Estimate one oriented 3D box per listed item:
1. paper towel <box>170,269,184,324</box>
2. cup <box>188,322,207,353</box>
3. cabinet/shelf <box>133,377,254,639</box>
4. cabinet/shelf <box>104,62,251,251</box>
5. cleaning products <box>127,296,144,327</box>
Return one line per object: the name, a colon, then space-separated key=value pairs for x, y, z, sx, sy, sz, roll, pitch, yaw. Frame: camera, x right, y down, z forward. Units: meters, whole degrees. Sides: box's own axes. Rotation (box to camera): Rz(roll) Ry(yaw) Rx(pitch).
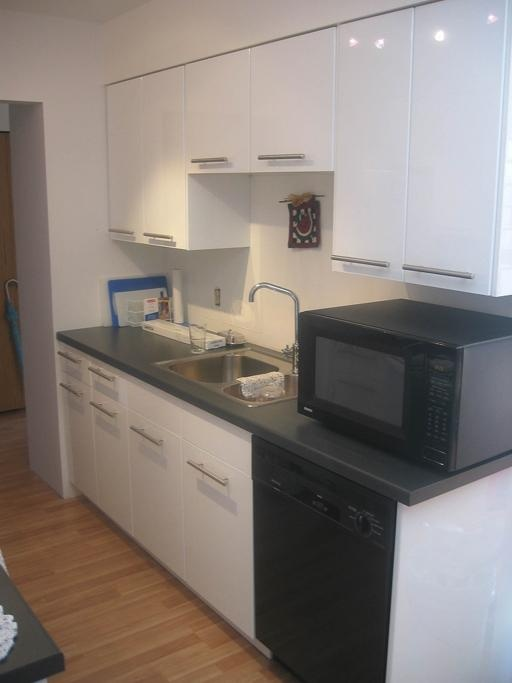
paper towel: x=-0.452 y=-0.260 z=3.139 sx=0.076 sy=0.301 sz=0.178 roll=-2 pitch=8 yaw=-9
cup: x=-0.282 y=-0.002 z=2.606 sx=0.073 sy=0.154 sz=0.137 roll=-2 pitch=11 yaw=-16
cabinet/shelf: x=-0.164 y=0.573 z=2.200 sx=0.737 sy=0.827 sz=0.426 roll=15 pitch=19 yaw=42
cabinet/shelf: x=-0.329 y=-0.823 z=2.382 sx=0.279 sy=0.761 sz=0.758 roll=-7 pitch=14 yaw=-36
cleaning products: x=-0.683 y=-0.161 z=3.069 sx=0.087 sy=0.160 sz=0.090 roll=-4 pitch=9 yaw=-19
